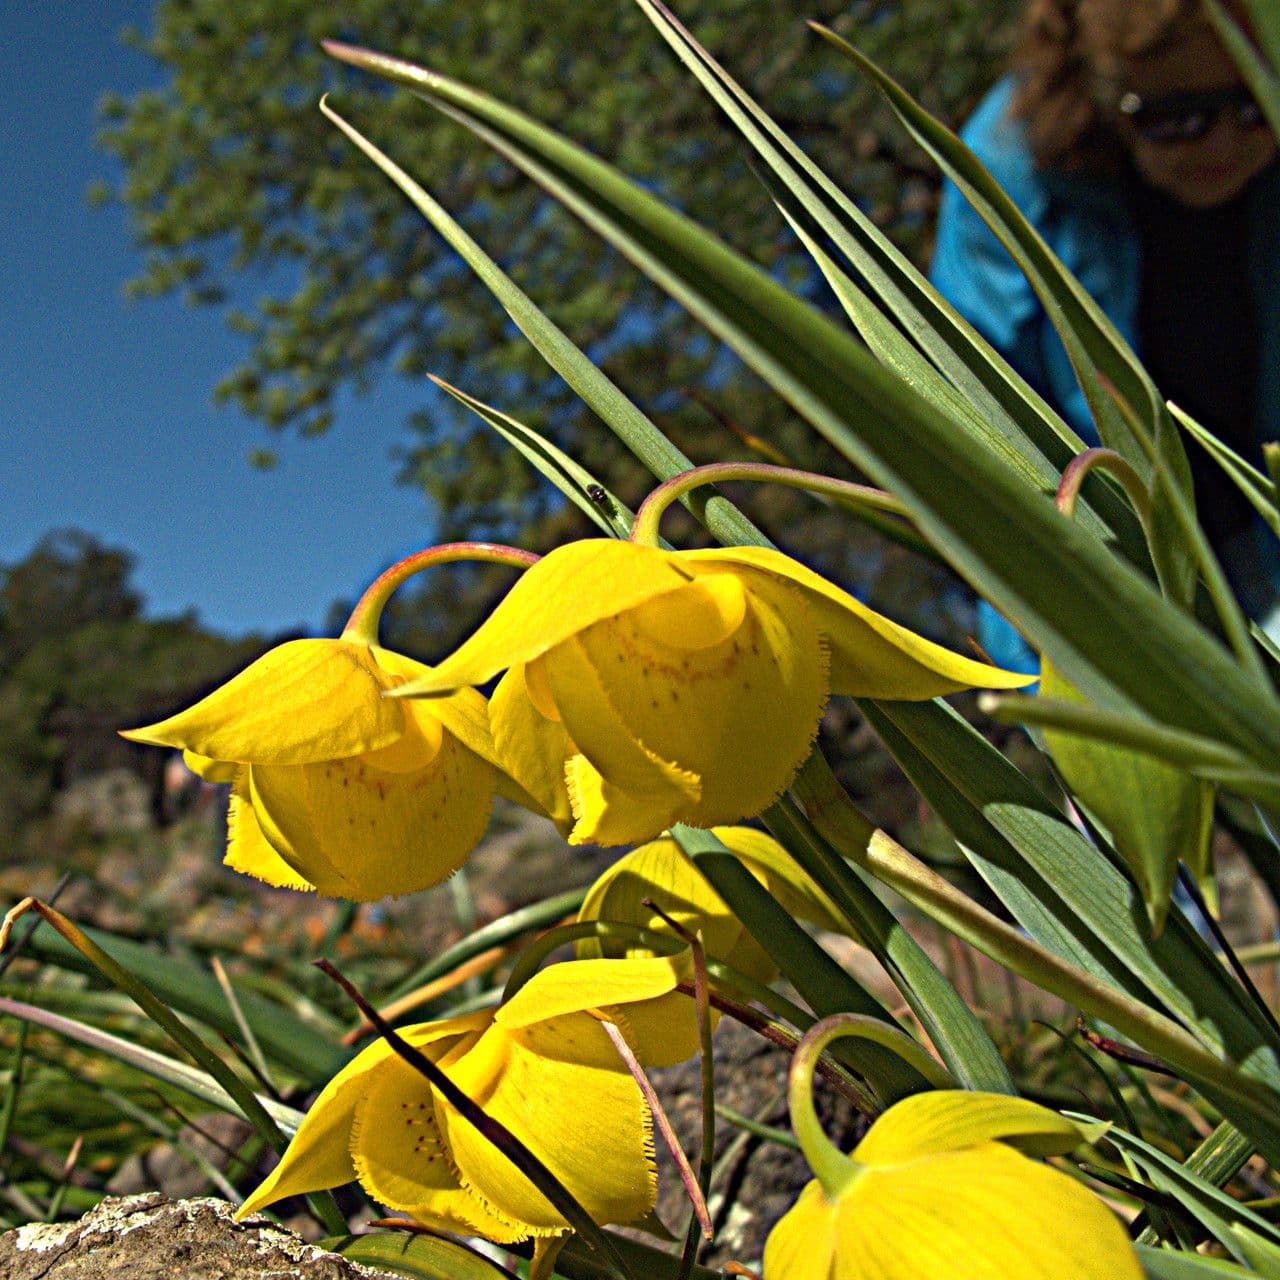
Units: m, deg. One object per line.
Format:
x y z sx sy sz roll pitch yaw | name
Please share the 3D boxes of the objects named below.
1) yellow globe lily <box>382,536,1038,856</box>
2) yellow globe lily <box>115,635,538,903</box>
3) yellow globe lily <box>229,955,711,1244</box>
0.036 0.030 0.863 0.225 0.133 0.298 -2 -21 2 | yellow globe lily
-0.204 0.118 0.972 0.218 0.099 0.206 25 -40 -23 | yellow globe lily
-0.115 0.283 0.939 0.237 0.101 0.213 -1 -33 -9 | yellow globe lily
